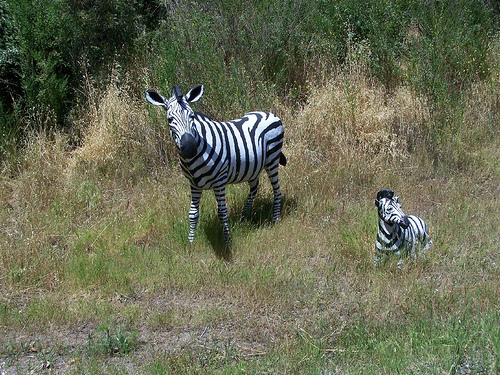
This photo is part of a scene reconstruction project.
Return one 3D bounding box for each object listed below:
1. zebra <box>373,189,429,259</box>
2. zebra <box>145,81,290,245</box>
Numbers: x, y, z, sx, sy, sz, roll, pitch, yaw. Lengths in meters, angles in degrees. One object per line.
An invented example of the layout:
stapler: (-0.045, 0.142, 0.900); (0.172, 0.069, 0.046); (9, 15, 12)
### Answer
zebra: (2.020, 0.519, 8.249); (1.168, 0.947, 0.363); (5, -1, -42)
zebra: (-0.283, -0.368, 8.876); (0.802, 2.321, 2.538); (11, 17, 39)
